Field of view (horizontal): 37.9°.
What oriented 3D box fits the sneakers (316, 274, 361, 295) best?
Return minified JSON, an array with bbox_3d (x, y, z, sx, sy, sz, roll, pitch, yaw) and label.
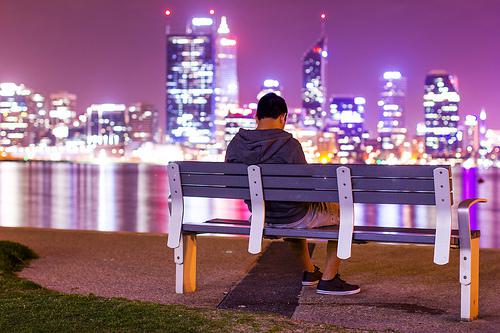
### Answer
[{"bbox_3d":[1.240,1.687,10.465,0.676,0.285,0.234,-1,1,-9],"label":"sneakers"}]
